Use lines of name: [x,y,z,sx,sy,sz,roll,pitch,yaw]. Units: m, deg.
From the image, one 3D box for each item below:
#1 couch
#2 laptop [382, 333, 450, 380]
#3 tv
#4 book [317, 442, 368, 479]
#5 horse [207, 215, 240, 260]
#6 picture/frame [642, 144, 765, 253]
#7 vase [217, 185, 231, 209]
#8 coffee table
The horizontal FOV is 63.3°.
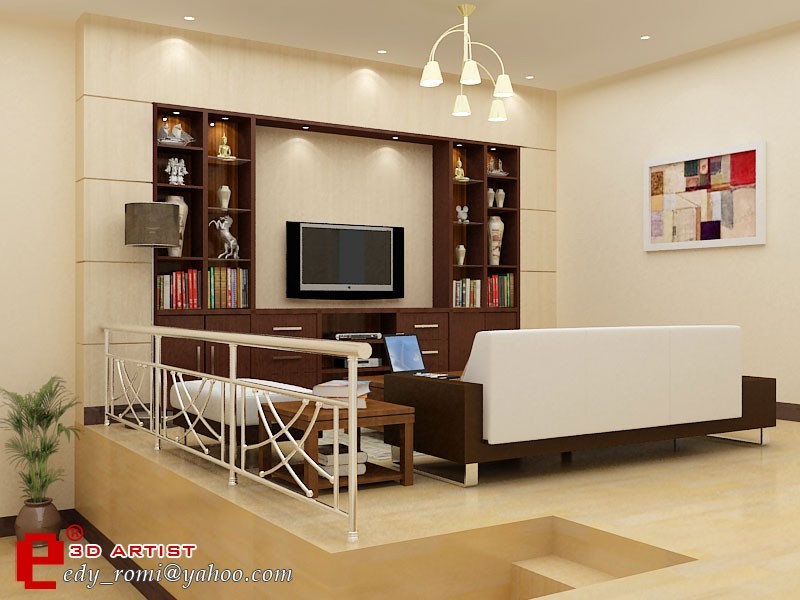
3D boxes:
couch: [1.374,0.677,4.622,2.584,1.049,0.518,1,0,-27]
laptop: [0.031,0.521,6.090,0.408,0.294,0.348,0,0,-39]
tv: [-0.650,-0.486,7.440,0.802,0.540,0.079,0,0,-24]
book: [-0.365,0.976,3.969,0.206,0.130,0.282,0,0,-21]
horse: [-1.797,-0.652,6.701,0.309,0.414,0.374,1,0,-20]
picture/frame: [3.350,-1.086,7.083,1.195,1.175,0.145,1,0,45]
vase: [-1.827,-1.072,6.782,0.134,0.232,0.315,1,0,-14]
coffee table: [-0.367,0.799,4.029,0.686,0.422,0.681,0,0,-37]
